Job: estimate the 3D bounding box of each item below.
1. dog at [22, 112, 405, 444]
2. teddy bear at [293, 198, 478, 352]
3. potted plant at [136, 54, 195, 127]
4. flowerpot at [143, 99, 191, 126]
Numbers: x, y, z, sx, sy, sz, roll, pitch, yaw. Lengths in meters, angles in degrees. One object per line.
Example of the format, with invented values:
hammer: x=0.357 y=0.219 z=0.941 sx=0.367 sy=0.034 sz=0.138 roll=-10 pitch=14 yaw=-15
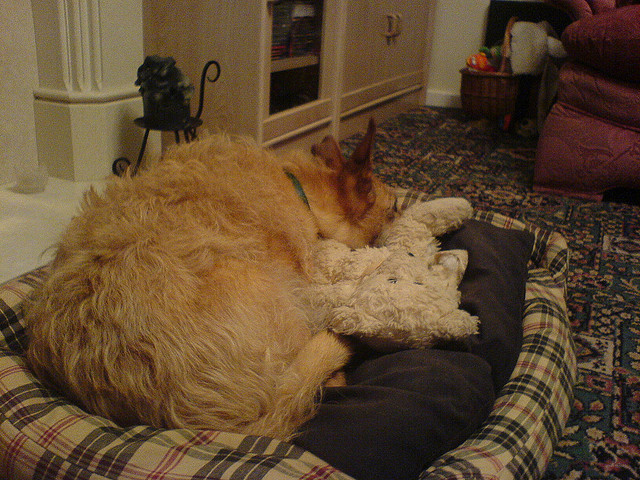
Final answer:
dog: x=-0.230 y=0.047 z=1.449 sx=0.708 sy=0.621 sz=0.963 roll=22 pitch=31 yaw=39
teddy bear: x=0.176 y=0.096 z=1.439 sx=0.410 sy=0.120 sz=0.365 roll=1 pitch=37 yaw=-6
potted plant: x=-0.652 y=-0.612 z=2.308 sx=0.245 sy=0.266 sz=0.266 roll=10 pitch=20 yaw=5
flowerpot: x=-0.626 y=-0.505 z=2.255 sx=0.132 sy=0.086 sz=0.134 roll=-1 pitch=14 yaw=-7
